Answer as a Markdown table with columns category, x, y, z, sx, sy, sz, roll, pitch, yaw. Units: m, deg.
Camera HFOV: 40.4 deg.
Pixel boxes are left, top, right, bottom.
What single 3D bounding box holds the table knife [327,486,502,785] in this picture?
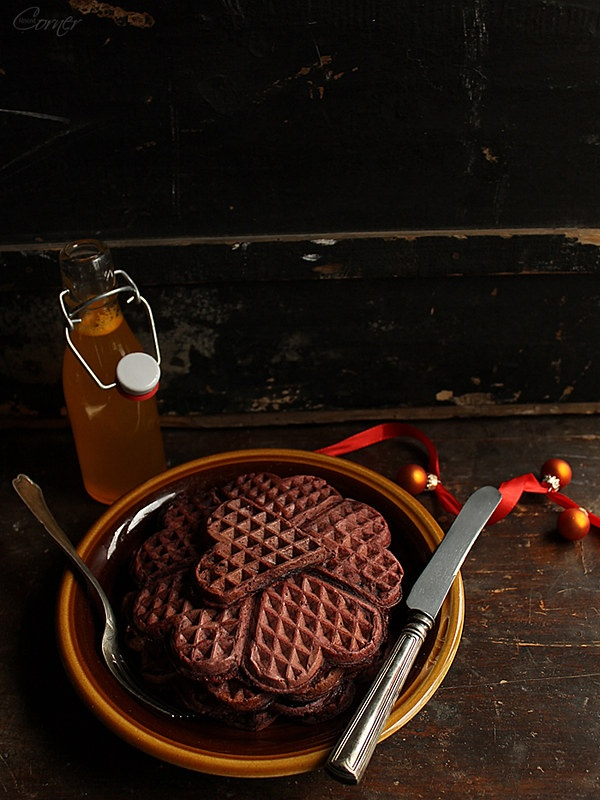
| category | x | y | z | sx | sy | sz | roll | pitch | yaw |
| --- | --- | --- | --- | --- | --- | --- | --- | --- | --- |
| table knife | 0.172 | 0.162 | 0.819 | 0.066 | 0.051 | 0.517 | 17 | 33 | 24 |

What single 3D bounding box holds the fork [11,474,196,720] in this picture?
| category | x | y | z | sx | sy | sz | roll | pitch | yaw |
| --- | --- | --- | --- | --- | --- | --- | --- | --- | --- |
| fork | -0.192 | 0.186 | 0.742 | 0.042 | 0.039 | 0.263 | -33 | 94 | -17 |
